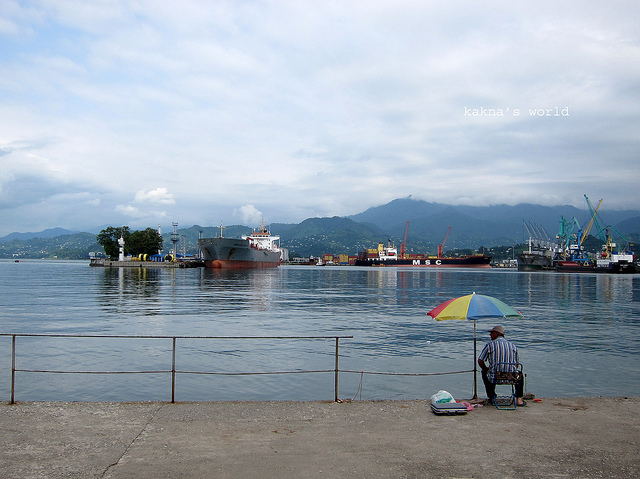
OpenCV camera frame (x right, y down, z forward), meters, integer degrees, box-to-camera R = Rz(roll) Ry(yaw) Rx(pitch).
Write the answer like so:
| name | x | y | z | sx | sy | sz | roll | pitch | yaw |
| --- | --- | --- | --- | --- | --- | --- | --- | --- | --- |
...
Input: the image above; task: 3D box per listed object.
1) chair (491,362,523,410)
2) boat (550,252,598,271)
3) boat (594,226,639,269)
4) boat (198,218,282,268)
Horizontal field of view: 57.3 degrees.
| name | x | y | z | sx | sy | sz | roll | pitch | yaw |
| --- | --- | --- | --- | --- | --- | --- | --- | --- | --- |
| chair | 5.711 | 4.549 | 18.373 | 0.977 | 1.384 | 1.048 | 3 | -9 | -10 |
| boat | 85.104 | 8.000 | 193.990 | 15.431 | 4.964 | 8.297 | 1 | -2 | -4 |
| boat | 96.898 | 2.500 | 194.900 | 9.853 | 14.364 | 62.646 | -1 | -2 | 27 |
| boat | -22.446 | 3.355 | 162.854 | 14.411 | 15.724 | 40.185 | 1 | -1 | 20 |
